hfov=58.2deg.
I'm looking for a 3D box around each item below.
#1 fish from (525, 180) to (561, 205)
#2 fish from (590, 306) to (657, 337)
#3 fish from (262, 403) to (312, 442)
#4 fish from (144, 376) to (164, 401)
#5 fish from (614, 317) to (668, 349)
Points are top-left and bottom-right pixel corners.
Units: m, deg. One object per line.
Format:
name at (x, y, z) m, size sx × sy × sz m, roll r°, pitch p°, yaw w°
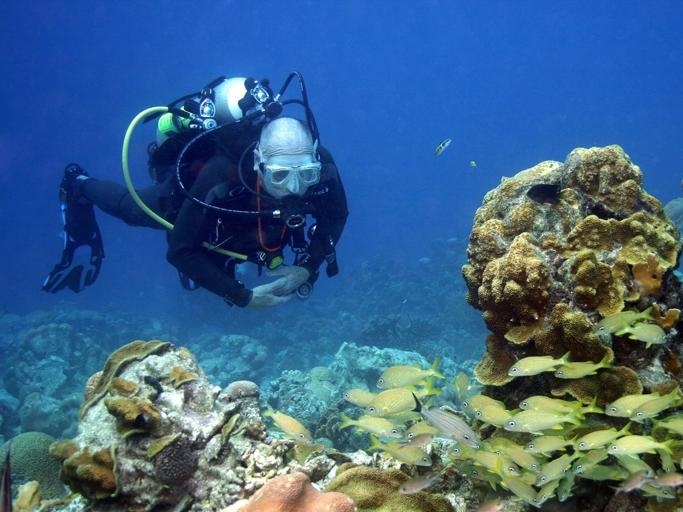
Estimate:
fish at (2.524, -0.769, 7.587) m, size 0.439 × 0.263 × 0.136 m, roll -8°, pitch -3°, yaw -5°
fish at (3.139, 0.736, 6.790) m, size 0.657 × 0.215 × 0.152 m, roll -16°, pitch -9°, yaw -4°
fish at (-0.683, 2.180, 7.945) m, size 0.500 × 0.348 × 0.636 m, roll -8°, pitch -2°, yaw -8°
fish at (-2.520, 1.786, 8.255) m, size 0.115 × 0.317 × 0.237 m, roll 4°, pitch -32°, yaw -19°
fish at (3.354, 0.886, 6.835) m, size 0.617 × 0.319 × 0.335 m, roll -8°, pitch -3°, yaw 4°
